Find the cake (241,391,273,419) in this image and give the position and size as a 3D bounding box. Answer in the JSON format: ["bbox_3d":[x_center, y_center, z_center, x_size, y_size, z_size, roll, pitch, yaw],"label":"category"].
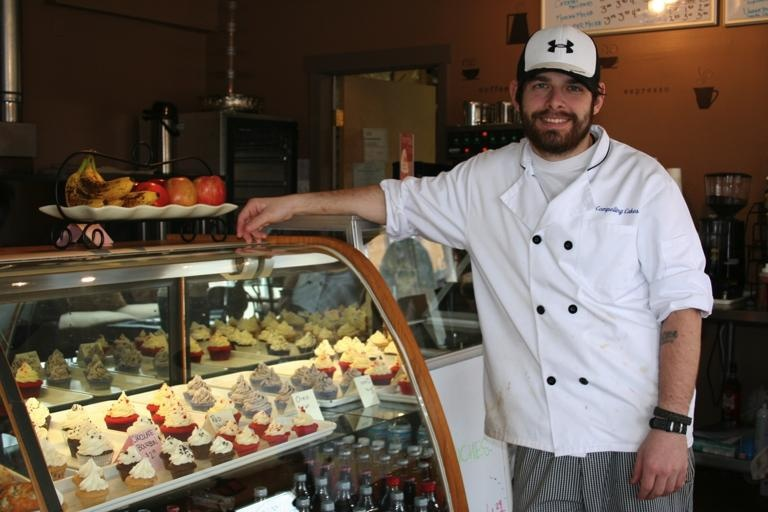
[{"bbox_3d":[-0.371,0.445,1.900,0.069,0.058,0.067,1,0,-22],"label":"cake"}]

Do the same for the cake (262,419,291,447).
[{"bbox_3d":[-0.307,0.522,1.880,0.063,0.045,0.065,-2,-2,-17],"label":"cake"}]

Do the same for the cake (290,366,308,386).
[{"bbox_3d":[-0.251,0.376,1.988,0.056,0.052,0.056,1,-4,13],"label":"cake"}]

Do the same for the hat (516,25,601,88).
[{"bbox_3d":[0.567,-0.657,2.096,0.253,0.162,0.329,4,18,1],"label":"hat"}]

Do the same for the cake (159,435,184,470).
[{"bbox_3d":[-0.570,0.542,1.736,0.064,0.064,0.062,-1,-5,13],"label":"cake"}]

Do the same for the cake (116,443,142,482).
[{"bbox_3d":[-0.657,0.542,1.670,0.064,0.084,0.061,3,1,-39],"label":"cake"}]

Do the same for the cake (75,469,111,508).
[{"bbox_3d":[-0.713,0.582,1.602,0.070,0.079,0.070,-1,-7,30],"label":"cake"}]

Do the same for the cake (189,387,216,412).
[{"bbox_3d":[-0.520,0.424,1.870,0.060,0.044,0.058,2,0,2],"label":"cake"}]

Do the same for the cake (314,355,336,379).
[{"bbox_3d":[-0.179,0.353,2.008,0.063,0.060,0.063,-1,-2,12],"label":"cake"}]

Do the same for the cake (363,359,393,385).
[{"bbox_3d":[-0.008,0.372,2.004,0.085,0.074,0.080,3,-2,-41],"label":"cake"}]

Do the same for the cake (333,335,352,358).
[{"bbox_3d":[-0.129,0.289,2.024,0.046,0.061,0.021,20,8,-4],"label":"cake"}]

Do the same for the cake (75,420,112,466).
[{"bbox_3d":[-0.728,0.488,1.652,0.085,0.085,0.085,0,-1,7],"label":"cake"}]

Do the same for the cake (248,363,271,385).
[{"bbox_3d":[-0.371,0.365,1.952,0.059,0.049,0.058,6,10,4],"label":"cake"}]

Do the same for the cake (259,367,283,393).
[{"bbox_3d":[-0.336,0.384,1.955,0.068,0.065,0.067,1,-4,5],"label":"cake"}]

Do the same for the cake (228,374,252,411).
[{"bbox_3d":[-0.421,0.410,1.913,0.074,0.096,0.072,7,-13,-15],"label":"cake"}]

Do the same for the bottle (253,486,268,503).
[{"bbox_3d":[-0.340,0.671,1.799,0.037,0.037,0.037,2,-2,-12],"label":"bottle"}]

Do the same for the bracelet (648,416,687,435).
[{"bbox_3d":[0.816,0.479,1.840,0.066,0.026,0.065,12,0,-5],"label":"bracelet"}]

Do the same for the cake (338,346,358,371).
[{"bbox_3d":[-0.115,0.330,2.023,0.059,0.065,0.065,1,-3,3],"label":"cake"}]

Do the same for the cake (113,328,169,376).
[{"bbox_3d":[-0.699,0.280,1.881,0.125,0.044,0.136,0,3,-11],"label":"cake"}]

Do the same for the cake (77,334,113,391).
[{"bbox_3d":[-0.780,0.307,1.772,0.026,0.139,0.077,3,9,33],"label":"cake"}]

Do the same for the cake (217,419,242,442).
[{"bbox_3d":[-0.434,0.502,1.833,0.049,0.030,0.050,4,11,36],"label":"cake"}]

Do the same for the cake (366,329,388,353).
[{"bbox_3d":[-0.017,0.265,1.971,0.064,0.039,0.065,6,11,21],"label":"cake"}]

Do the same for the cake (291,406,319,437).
[{"bbox_3d":[-0.233,0.502,1.934,0.078,0.067,0.070,-6,-8,32],"label":"cake"}]

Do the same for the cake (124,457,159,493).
[{"bbox_3d":[-0.628,0.583,1.686,0.081,0.088,0.078,11,-10,-18],"label":"cake"}]

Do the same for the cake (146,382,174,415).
[{"bbox_3d":[-0.632,0.415,1.843,0.054,0.063,0.054,8,0,-8],"label":"cake"}]

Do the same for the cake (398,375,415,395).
[{"bbox_3d":[0.071,0.390,1.928,0.055,0.048,0.054,0,2,5],"label":"cake"}]

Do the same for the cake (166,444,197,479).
[{"bbox_3d":[-0.538,0.560,1.733,0.071,0.079,0.070,-5,9,-39],"label":"cake"}]

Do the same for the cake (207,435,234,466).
[{"bbox_3d":[-0.446,0.550,1.789,0.065,0.068,0.056,-3,17,-11],"label":"cake"}]

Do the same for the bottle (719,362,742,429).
[{"bbox_3d":[2.131,0.858,3.991,0.100,0.393,0.225,2,9,29],"label":"bottle"}]

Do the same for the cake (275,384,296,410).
[{"bbox_3d":[-0.289,0.434,1.964,0.060,0.064,0.065,3,4,11],"label":"cake"}]

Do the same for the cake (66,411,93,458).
[{"bbox_3d":[-0.775,0.468,1.646,0.076,0.102,0.074,0,-4,-35],"label":"cake"}]

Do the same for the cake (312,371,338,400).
[{"bbox_3d":[-0.180,0.416,2.044,0.082,0.078,0.081,0,-1,-2],"label":"cake"}]

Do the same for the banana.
[{"bbox_3d":[-0.735,-0.178,1.764,0.238,0.147,0.079,10,7,3],"label":"banana"}]

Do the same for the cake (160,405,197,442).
[{"bbox_3d":[-0.564,0.471,1.788,0.080,0.074,0.078,3,2,-34],"label":"cake"}]

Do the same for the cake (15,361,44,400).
[{"bbox_3d":[-0.848,0.305,1.563,0.077,0.091,0.077,-1,3,-11],"label":"cake"}]

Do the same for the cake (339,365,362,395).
[{"bbox_3d":[-0.107,0.395,2.027,0.092,0.044,0.115,-1,6,-4],"label":"cake"}]

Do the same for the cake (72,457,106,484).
[{"bbox_3d":[-0.731,0.543,1.609,0.051,0.049,0.049,3,0,-33],"label":"cake"}]

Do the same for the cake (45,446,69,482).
[{"bbox_3d":[-0.779,0.500,1.555,0.026,0.087,0.073,-3,8,-5],"label":"cake"}]

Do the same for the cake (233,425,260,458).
[{"bbox_3d":[-0.386,0.532,1.828,0.051,0.061,0.072,3,9,30],"label":"cake"}]

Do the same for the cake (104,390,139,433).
[{"bbox_3d":[-0.704,0.440,1.747,0.070,0.060,0.079,-1,8,9],"label":"cake"}]

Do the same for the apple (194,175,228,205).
[{"bbox_3d":[-0.528,-0.198,1.979,0.094,0.092,0.092,-16,14,-41],"label":"apple"}]

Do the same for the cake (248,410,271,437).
[{"bbox_3d":[-0.354,0.494,1.873,0.065,0.067,0.049,-3,8,-22],"label":"cake"}]
